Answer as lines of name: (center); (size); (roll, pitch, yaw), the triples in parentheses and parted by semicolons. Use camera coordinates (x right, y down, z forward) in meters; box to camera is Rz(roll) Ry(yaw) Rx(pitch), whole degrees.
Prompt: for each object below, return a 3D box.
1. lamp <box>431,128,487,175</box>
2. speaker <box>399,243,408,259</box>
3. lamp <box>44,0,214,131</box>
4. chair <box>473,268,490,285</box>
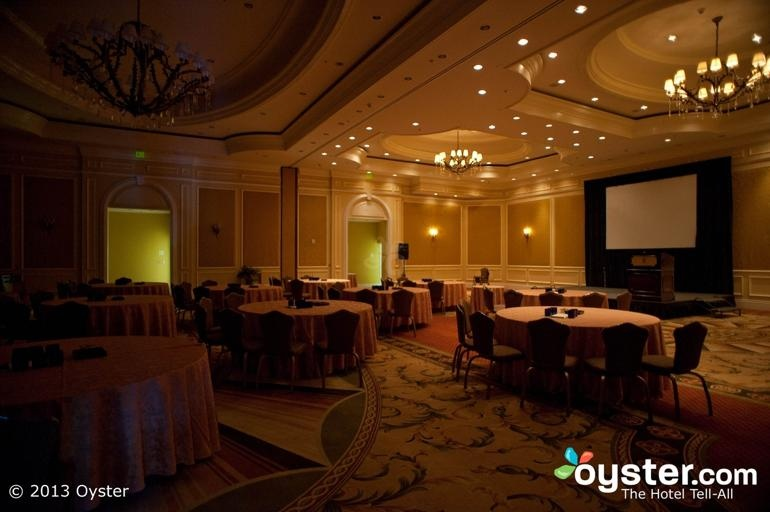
lamp: (1.779, -2.655, 12.356); (1.051, 1.435, 1.083); (-1, -7, 13)
speaker: (0.557, -0.135, 15.815); (0.145, 0.474, 0.456); (-2, -3, 37)
lamp: (-4.376, -3.035, 9.014); (2.474, 1.485, 4.359); (-1, -1, -27)
chair: (2.823, 0.610, 14.761); (0.427, 0.608, 0.470); (-2, -6, 31)
